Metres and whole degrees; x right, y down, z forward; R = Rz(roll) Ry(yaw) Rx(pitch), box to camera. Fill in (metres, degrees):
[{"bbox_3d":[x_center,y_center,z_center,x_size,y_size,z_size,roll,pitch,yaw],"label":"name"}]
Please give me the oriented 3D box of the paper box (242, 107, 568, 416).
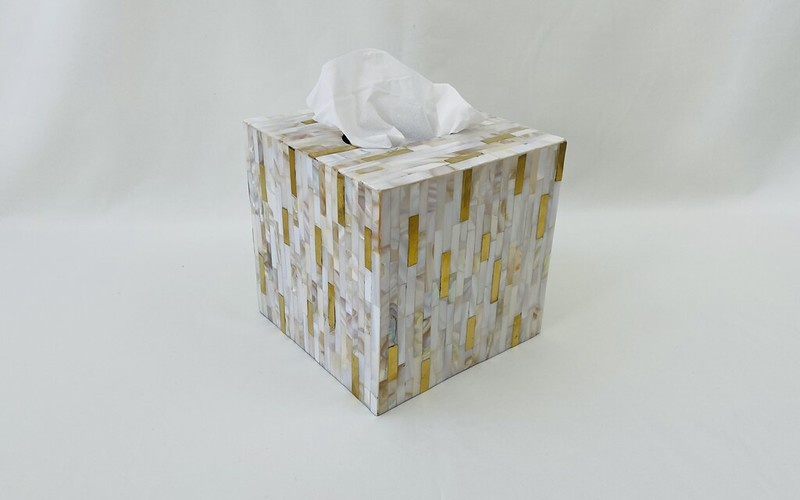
[{"bbox_3d":[-0.002,-0.075,3.548,1.095,0.891,1.159,14,30,23],"label":"paper box"}]
